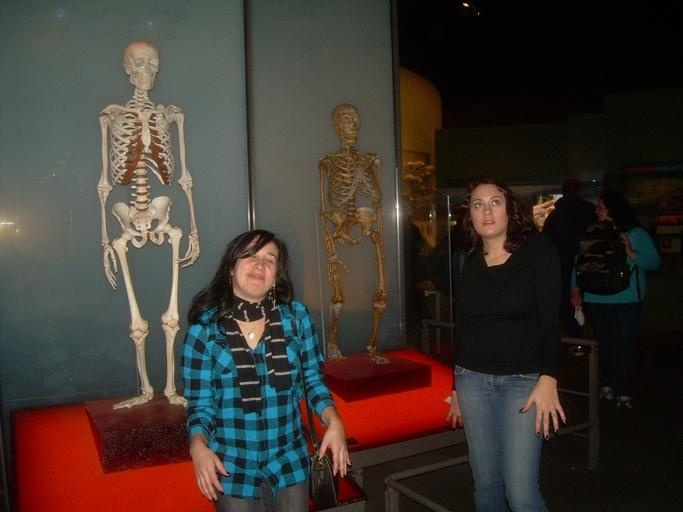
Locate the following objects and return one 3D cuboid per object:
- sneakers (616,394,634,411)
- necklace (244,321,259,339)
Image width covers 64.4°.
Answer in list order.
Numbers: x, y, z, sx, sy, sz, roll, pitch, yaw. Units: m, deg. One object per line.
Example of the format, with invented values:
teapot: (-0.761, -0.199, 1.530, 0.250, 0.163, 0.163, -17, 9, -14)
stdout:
sneakers: (2.664, 1.368, 5.101, 0.171, 0.113, 0.127, 24, 11, 29)
necklace: (-0.489, 0.398, 2.929, 0.088, 0.085, 0.024, -6, 0, -1)
